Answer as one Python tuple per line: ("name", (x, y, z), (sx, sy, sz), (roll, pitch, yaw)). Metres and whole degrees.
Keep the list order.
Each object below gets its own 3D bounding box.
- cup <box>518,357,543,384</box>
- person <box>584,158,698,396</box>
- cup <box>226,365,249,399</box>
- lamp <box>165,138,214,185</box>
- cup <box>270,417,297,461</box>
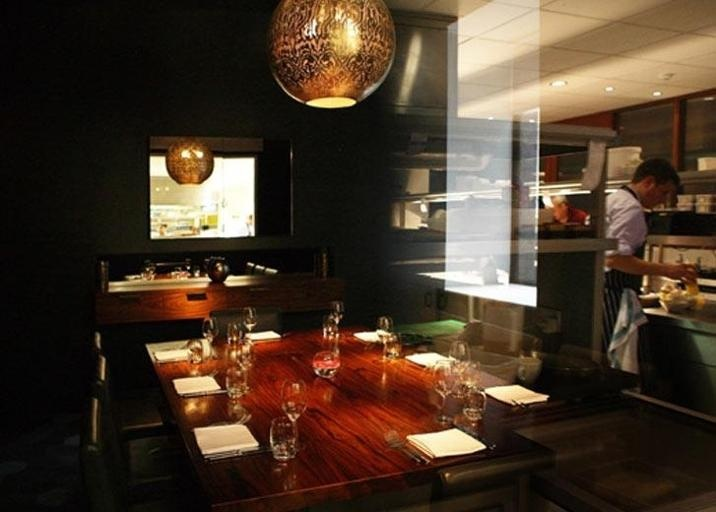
("cup", (0.852, 0.570, 2.785), (0.114, 0.097, 0.133), (0, -1, -30))
("person", (1.438, 0.096, 2.808), (0.141, 1.166, 0.489), (-6, 13, -22))
("cup", (-0.582, 0.600, 2.666), (0.133, 0.168, 0.120), (-1, 1, -15))
("lamp", (-1.448, -0.808, 4.800), (0.376, 0.423, 0.381), (8, 9, 43))
("cup", (-0.285, 0.708, 2.183), (0.131, 0.175, 0.129), (-1, -2, 0))
